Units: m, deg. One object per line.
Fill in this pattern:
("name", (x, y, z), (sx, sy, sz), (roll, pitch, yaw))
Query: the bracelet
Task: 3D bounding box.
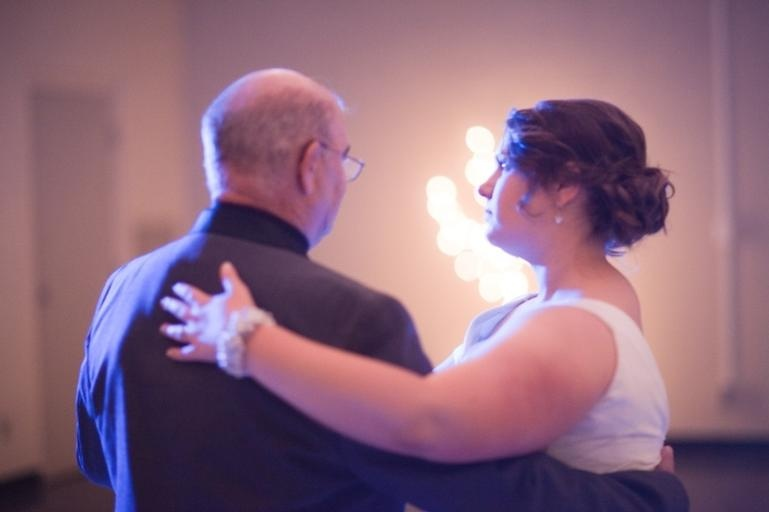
("bracelet", (-0.786, 0.443, 4.981), (0.348, 0.261, 0.139), (-36, 9, -16))
